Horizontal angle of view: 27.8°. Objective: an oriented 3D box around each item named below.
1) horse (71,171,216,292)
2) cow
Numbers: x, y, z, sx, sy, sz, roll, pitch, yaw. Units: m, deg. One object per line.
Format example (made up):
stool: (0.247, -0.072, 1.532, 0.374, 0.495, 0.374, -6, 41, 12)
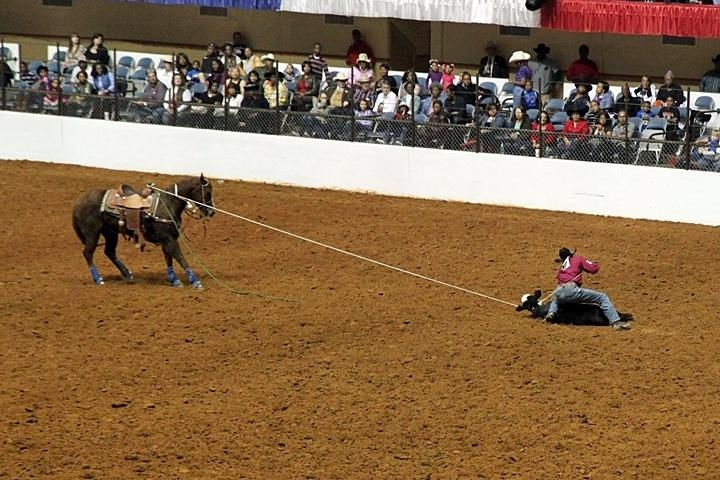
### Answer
horse: (-5.806, -0.560, 38.611, 6.172, 3.836, 2.410, 0, -1, 5)
cow: (5.459, 1.718, 37.156, 3.724, 0.849, 1.069, -3, -6, 3)
